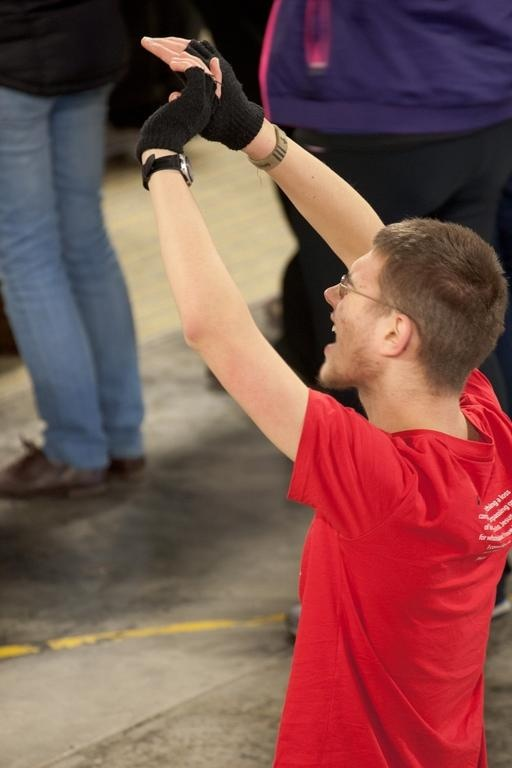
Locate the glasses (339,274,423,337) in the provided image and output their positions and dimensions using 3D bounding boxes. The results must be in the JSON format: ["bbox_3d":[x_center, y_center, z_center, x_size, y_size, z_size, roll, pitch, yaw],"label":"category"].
[{"bbox_3d":[0.134,-0.089,0.875,0.088,0.023,0.063,23,6,4],"label":"glasses"}]
